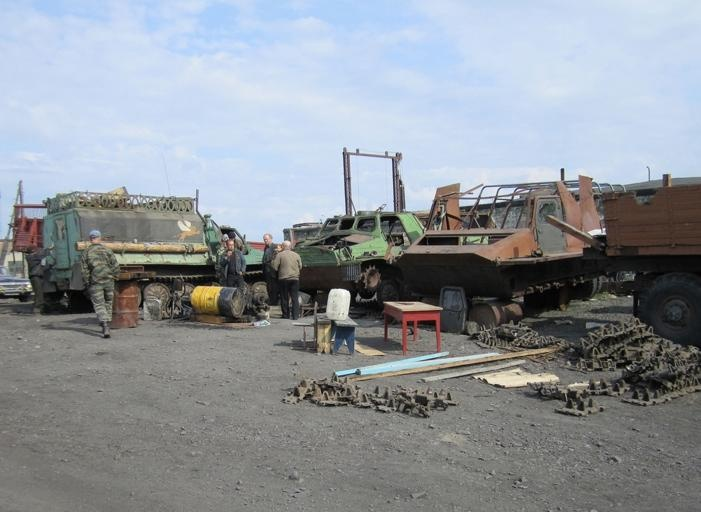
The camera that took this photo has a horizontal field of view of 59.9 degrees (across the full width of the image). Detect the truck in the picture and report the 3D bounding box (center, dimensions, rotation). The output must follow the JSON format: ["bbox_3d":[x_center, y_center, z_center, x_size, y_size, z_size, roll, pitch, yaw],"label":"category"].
[{"bbox_3d":[-5.288,-0.382,18.218,6.484,3.212,4.549,-2,1,-40],"label":"truck"}]

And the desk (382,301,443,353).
[{"bbox_3d":[1.041,1.190,10.456,0.731,0.651,1.428,0,1,-11],"label":"desk"}]

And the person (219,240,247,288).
[{"bbox_3d":[-2.792,0.221,14.538,0.554,1.126,0.965,-2,7,-19],"label":"person"}]

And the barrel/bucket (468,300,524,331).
[{"bbox_3d":[2.790,1.115,11.589,0.718,0.614,0.629,2,-13,-33],"label":"barrel/bucket"}]

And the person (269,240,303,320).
[{"bbox_3d":[-1.468,0.571,14.089,0.626,1.840,0.941,-1,7,-8],"label":"person"}]

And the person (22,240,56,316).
[{"bbox_3d":[-8.552,0.688,16.767,0.689,1.814,0.672,6,9,43],"label":"person"}]

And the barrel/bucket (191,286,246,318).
[{"bbox_3d":[-2.879,1.020,13.386,1.261,0.687,0.415,4,8,34],"label":"barrel/bucket"}]
